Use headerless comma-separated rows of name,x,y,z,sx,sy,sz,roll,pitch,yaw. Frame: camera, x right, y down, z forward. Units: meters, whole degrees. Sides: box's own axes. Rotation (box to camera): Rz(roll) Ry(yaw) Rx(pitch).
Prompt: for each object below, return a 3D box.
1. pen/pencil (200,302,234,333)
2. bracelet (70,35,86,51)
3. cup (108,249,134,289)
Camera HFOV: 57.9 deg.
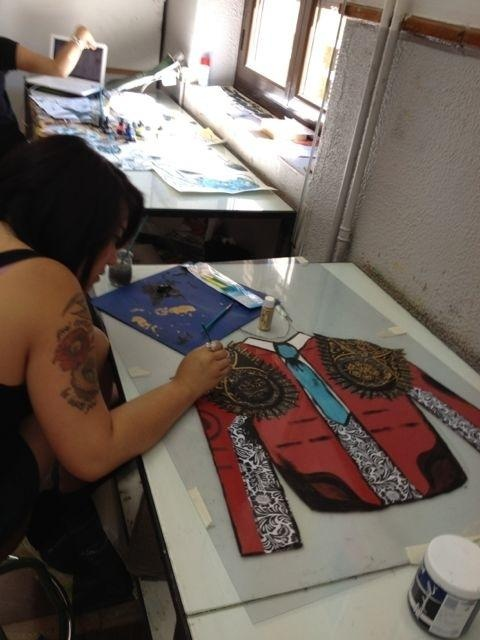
pen/pencil,-0.043,-0.016,0.969,0.022,0.025,0.127,42,47,8
bracelet,-0.717,-1.221,1.919,0.040,0.053,0.027,-46,18,-22
cup,-0.268,-0.110,0.972,0.046,0.072,0.051,16,39,-4
